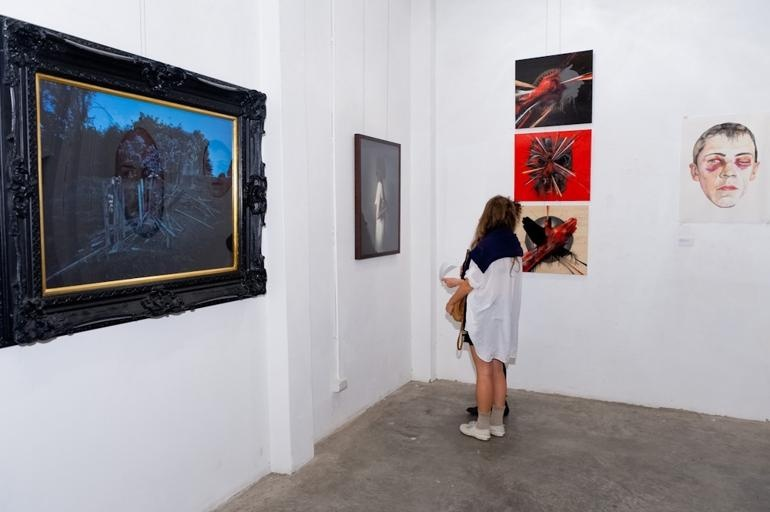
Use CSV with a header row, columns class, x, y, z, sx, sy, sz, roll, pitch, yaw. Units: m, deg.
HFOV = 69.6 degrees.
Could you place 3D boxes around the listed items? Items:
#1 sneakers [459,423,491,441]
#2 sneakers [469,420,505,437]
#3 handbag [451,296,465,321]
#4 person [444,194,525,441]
class,x,y,z,sx,sy,sz,roll,pitch,yaw
sneakers,0.879,1.701,5.435,0.139,0.100,0.243,-3,8,-42
sneakers,1.008,1.695,5.512,0.340,0.157,0.123,-1,-1,27
handbag,0.722,0.511,5.486,0.066,0.224,0.149,12,2,4
person,1.024,0.593,5.404,0.714,2.307,0.529,-6,14,-24
